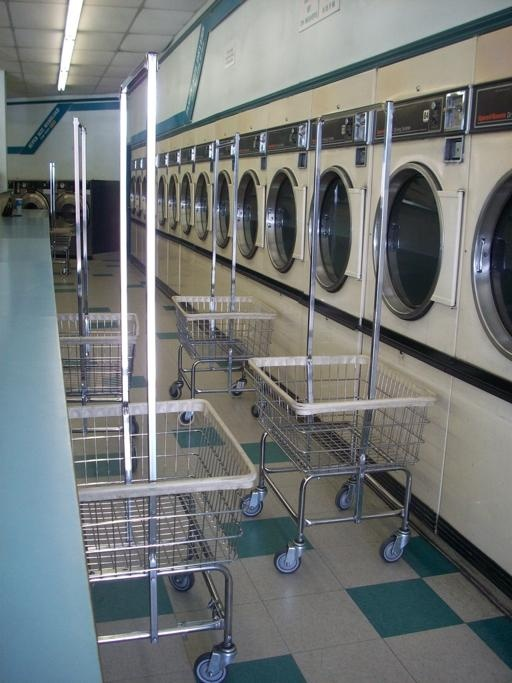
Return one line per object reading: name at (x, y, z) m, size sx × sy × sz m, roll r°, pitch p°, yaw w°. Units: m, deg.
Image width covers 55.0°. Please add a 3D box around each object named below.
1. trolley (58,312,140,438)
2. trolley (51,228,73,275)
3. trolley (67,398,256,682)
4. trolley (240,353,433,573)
trolley at (-1.153, 0.187, 3.456) m, size 0.525 × 0.711 × 0.884 m, roll -3°, pitch -6°, yaw -21°
trolley at (-4.678, -2.100, 11.713) m, size 0.469 × 1.092 × 0.827 m, roll -3°, pitch 11°, yaw -36°
trolley at (-0.317, 0.731, 1.780) m, size 0.534 × 0.884 × 0.747 m, roll 0°, pitch 18°, yaw -12°
trolley at (0.412, 0.485, 2.836) m, size 0.746 × 1.315 × 1.089 m, roll -2°, pitch 13°, yaw -14°
